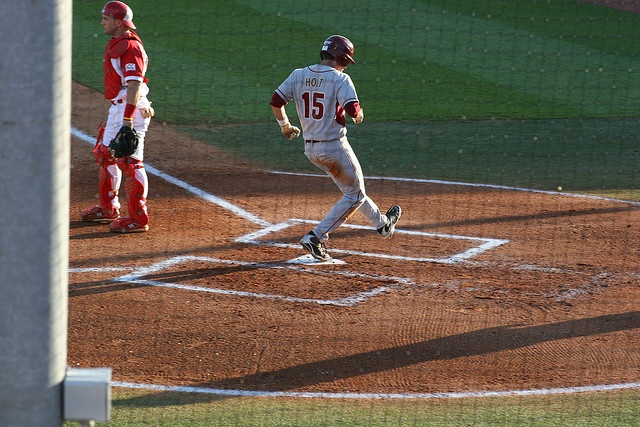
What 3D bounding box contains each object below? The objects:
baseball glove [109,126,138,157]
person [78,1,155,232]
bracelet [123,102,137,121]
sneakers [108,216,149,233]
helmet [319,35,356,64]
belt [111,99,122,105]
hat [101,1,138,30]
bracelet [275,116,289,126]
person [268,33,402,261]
[{"bbox_3d":[-2.087,-0.768,9.482,0.290,0.328,0.237,0,-1,-6],"label":"baseball glove"},{"bbox_3d":[-2.235,-1.078,9.887,0.737,2.575,1.064,0,-1,-13],"label":"person"},{"bbox_3d":[-2.034,-1.084,9.557,0.119,0.182,0.172,0,-1,-9],"label":"bracelet"},{"bbox_3d":[-2.174,0.134,10.093,0.474,0.080,0.193,3,6,-10],"label":"sneakers"},{"bbox_3d":[0.188,-1.753,9.491,0.337,0.339,0.238,0,-1,-1],"label":"helmet"},{"bbox_3d":[-2.249,-1.233,9.813,0.088,0.046,0.097,-13,25,-36],"label":"belt"},{"bbox_3d":[-2.165,-2.188,9.723,0.276,0.318,0.354,-1,-1,25],"label":"hat"},{"bbox_3d":[-0.394,-1.029,9.860,0.199,0.084,0.140,-16,15,0],"label":"bracelet"},{"bbox_3d":[0.060,-0.690,9.642,1.160,2.405,0.717,-1,-1,6],"label":"person"}]
